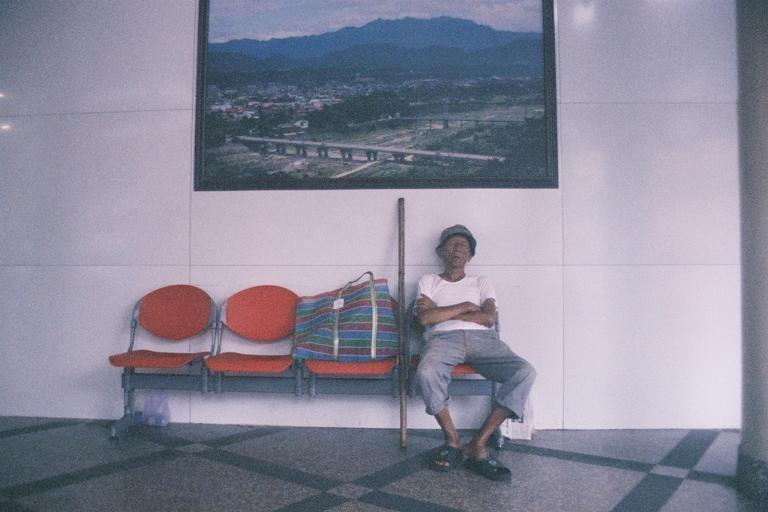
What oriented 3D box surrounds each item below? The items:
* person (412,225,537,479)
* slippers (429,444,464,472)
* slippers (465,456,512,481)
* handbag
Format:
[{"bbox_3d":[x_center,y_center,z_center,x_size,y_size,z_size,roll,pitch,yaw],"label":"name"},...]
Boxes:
[{"bbox_3d":[0.681,0.706,5.732,0.902,1.863,1.161,-1,6,-13],"label":"person"},{"bbox_3d":[0.513,1.574,5.473,0.322,0.152,0.150,-5,8,-44],"label":"slippers"},{"bbox_3d":[0.795,1.611,5.330,0.268,0.095,0.143,2,4,36],"label":"slippers"},{"bbox_3d":[-0.323,0.527,5.863,0.855,0.653,0.446,0,6,-5],"label":"handbag"}]
